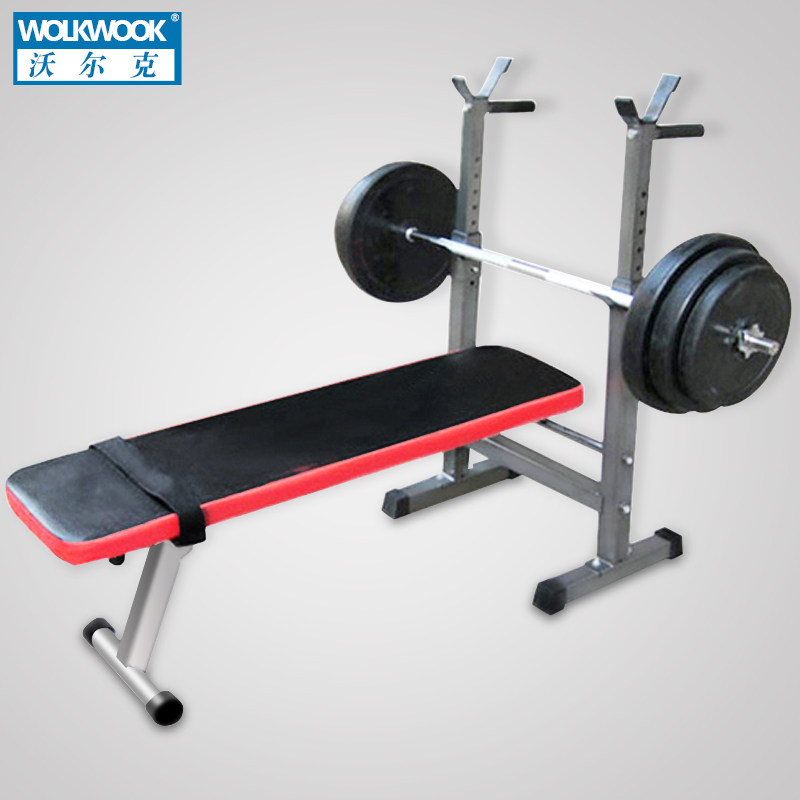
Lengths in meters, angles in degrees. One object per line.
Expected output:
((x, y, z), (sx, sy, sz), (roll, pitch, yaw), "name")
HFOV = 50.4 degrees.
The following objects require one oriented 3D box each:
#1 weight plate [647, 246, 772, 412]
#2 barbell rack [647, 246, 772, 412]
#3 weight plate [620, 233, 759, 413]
((0.667, -0.172, 1.868), (0.303, 0.277, 0.271), (-14, -55, -29), "weight plate")
((0.667, -0.172, 1.868), (0.303, 0.277, 0.271), (-14, -55, -29), "barbell rack")
((0.642, -0.165, 1.878), (0.328, 0.308, 0.301), (-17, -60, -17), "weight plate")
